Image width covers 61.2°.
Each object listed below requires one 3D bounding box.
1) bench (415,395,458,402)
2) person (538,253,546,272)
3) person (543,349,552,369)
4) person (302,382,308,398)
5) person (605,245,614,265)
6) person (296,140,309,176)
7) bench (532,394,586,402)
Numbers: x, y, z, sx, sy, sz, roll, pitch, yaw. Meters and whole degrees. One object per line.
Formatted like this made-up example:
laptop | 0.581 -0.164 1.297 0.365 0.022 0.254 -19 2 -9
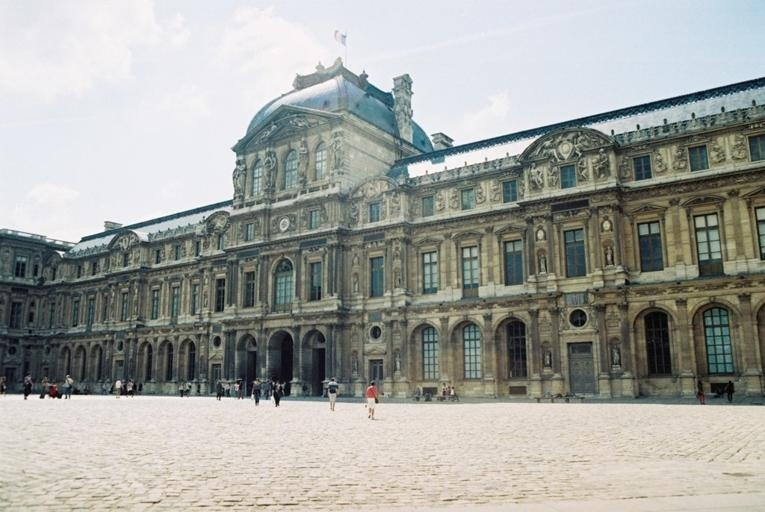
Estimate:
bench | 3.914 10.865 49.177 2.440 0.451 3.787 10 -18 -41
person | 12.154 0.545 49.195 0.712 1.541 0.261 -8 -16 24
person | 12.317 7.690 48.167 0.204 1.332 0.766 8 -18 -33
person | -7.032 12.265 59.382 0.316 1.155 1.016 -7 -15 20
person | 16.423 -0.073 46.875 0.212 1.514 0.702 12 -20 -40
person | -7.646 -9.524 62.453 1.258 3.844 0.513 -10 -17 28
bench | 12.387 9.993 45.367 3.183 0.646 4.443 -3 -14 5
